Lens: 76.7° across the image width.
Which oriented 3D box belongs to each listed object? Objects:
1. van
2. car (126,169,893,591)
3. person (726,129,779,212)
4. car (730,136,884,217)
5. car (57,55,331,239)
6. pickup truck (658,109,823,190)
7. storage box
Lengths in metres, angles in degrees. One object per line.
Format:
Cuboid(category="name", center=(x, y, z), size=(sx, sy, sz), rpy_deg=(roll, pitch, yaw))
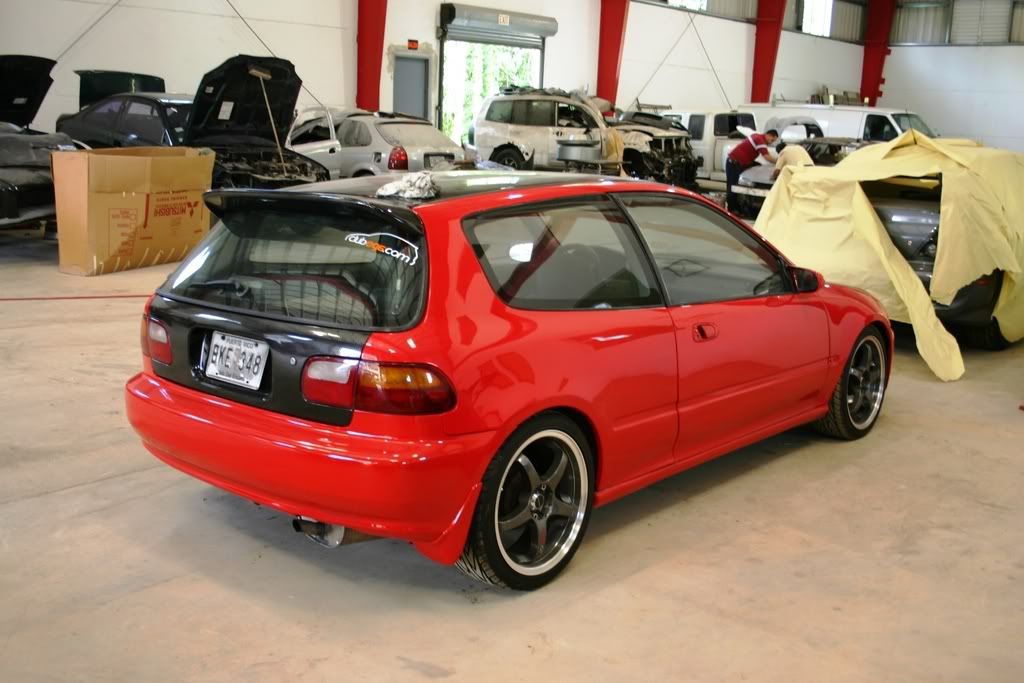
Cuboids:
Cuboid(category="van", center=(9.658, -6.947, 20.404), size=(3.434, 1.183, 5.386), rpy_deg=(-14, 22, -43))
Cuboid(category="car", center=(0.307, -0.128, 3.618), size=(3.733, 1.398, 2.023), rpy_deg=(-17, 23, -40))
Cuboid(category="person", center=(5.426, -3.973, 14.767), size=(1.167, 1.722, 0.784), rpy_deg=(2, 45, -3))
Cuboid(category="car", center=(5.897, -3.549, 14.048), size=(3.412, 1.623, 1.888), rpy_deg=(8, 16, 23))
Cuboid(category="car", center=(-6.019, -3.871, 11.721), size=(5.163, 2.624, 2.356), rpy_deg=(15, 23, 20))
Cuboid(category="pickup truck", center=(7.900, -5.874, 19.768), size=(4.653, 2.064, 2.562), rpy_deg=(-3, 15, -2))
Cuboid(category="storage box", center=(-5.312, -1.862, 9.136), size=(1.134, 1.476, 2.152), rpy_deg=(10, 14, 13))
